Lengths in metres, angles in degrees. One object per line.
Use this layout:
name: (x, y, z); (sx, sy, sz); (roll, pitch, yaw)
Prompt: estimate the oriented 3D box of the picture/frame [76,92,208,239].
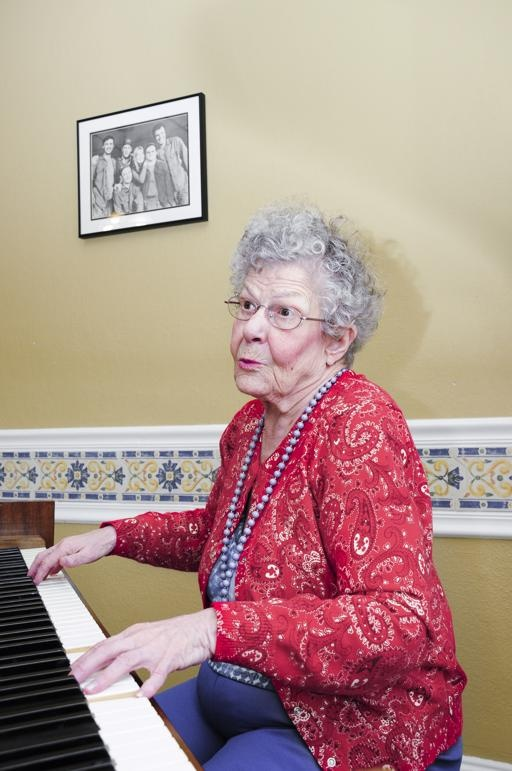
picture/frame: (-0.372, -0.749, 2.353); (0.582, 0.446, 0.025); (-1, 1, 29)
